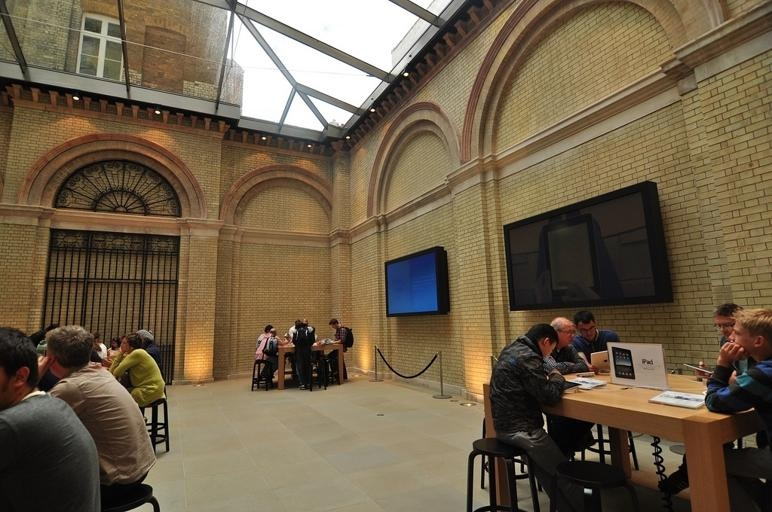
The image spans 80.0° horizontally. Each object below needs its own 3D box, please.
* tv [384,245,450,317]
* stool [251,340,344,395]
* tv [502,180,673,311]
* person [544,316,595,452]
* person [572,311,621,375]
[{"bbox_3d":[0.858,0.666,11.870,0.279,1.279,2.025,3,-9,-32],"label":"tv"},{"bbox_3d":[-2.426,2.816,12.517,2.245,0.992,1.502,1,0,-26],"label":"stool"},{"bbox_3d":[3.575,-0.170,7.965,0.370,1.499,2.658,1,-8,-40],"label":"tv"},{"bbox_3d":[2.442,1.748,6.284,0.865,1.833,0.711,6,1,33],"label":"person"},{"bbox_3d":[3.195,1.286,7.012,0.638,0.890,0.629,1,-1,5],"label":"person"}]
